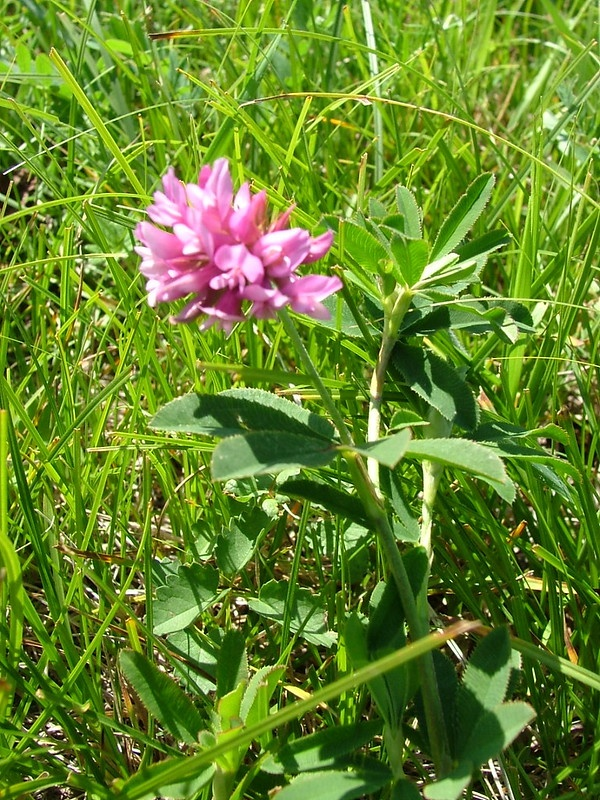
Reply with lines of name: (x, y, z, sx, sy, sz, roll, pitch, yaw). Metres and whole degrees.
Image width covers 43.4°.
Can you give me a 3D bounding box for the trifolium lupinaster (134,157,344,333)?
trifolium lupinaster: (-0.093, -0.147, 0.901, 0.216, 0.178, 0.211, 23, 11, -15)
